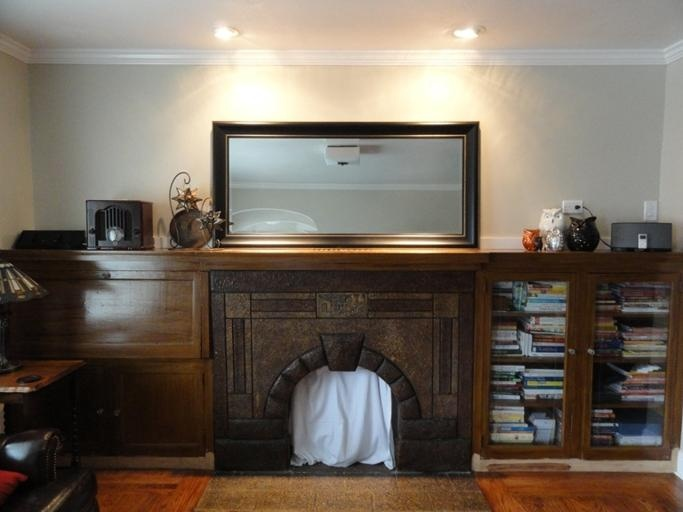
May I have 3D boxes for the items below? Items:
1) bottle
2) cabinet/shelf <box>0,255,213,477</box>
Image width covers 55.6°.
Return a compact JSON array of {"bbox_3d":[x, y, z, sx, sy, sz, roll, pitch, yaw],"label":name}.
[{"bbox_3d":[1.562,-0.219,4.544,0.555,0.364,0.346,0,1,12],"label":"bottle"},{"bbox_3d":[-1.580,0.653,4.273,1.362,1.367,0.541,-1,-2,0],"label":"cabinet/shelf"}]
